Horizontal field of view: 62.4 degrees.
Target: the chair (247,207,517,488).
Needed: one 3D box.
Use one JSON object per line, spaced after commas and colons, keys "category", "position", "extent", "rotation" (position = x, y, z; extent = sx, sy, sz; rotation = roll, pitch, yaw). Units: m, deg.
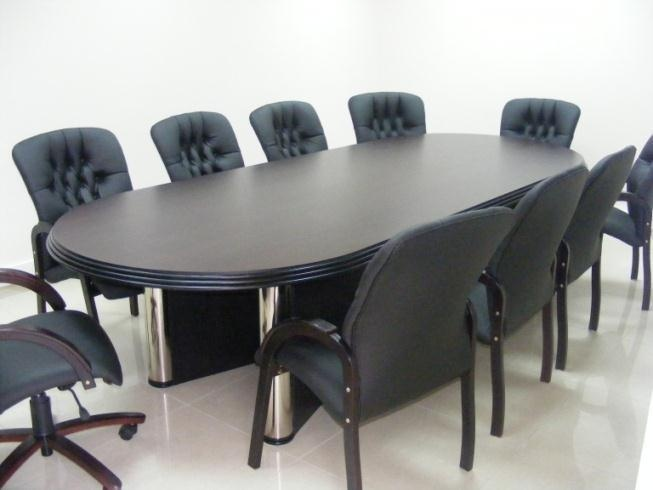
{"category": "chair", "position": [0.318, 0.203, 2.376], "extent": [0.792, 1.478, 1.036], "rotation": [-13, 22, -37]}
